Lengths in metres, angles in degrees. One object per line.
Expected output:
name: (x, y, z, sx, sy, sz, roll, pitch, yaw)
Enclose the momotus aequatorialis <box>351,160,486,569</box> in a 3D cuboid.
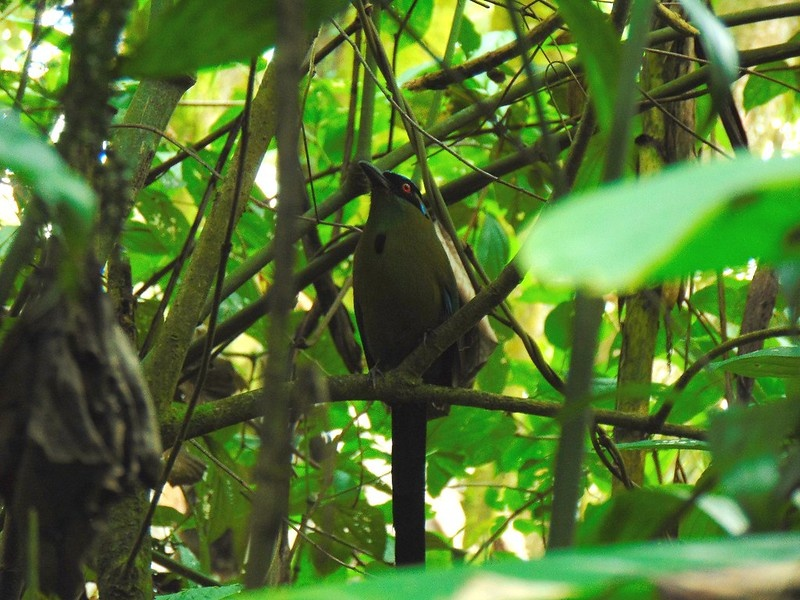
momotus aequatorialis: (0.036, 0.149, 2.961, 0.444, 1.035, 0.292, 10, -11, -37)
